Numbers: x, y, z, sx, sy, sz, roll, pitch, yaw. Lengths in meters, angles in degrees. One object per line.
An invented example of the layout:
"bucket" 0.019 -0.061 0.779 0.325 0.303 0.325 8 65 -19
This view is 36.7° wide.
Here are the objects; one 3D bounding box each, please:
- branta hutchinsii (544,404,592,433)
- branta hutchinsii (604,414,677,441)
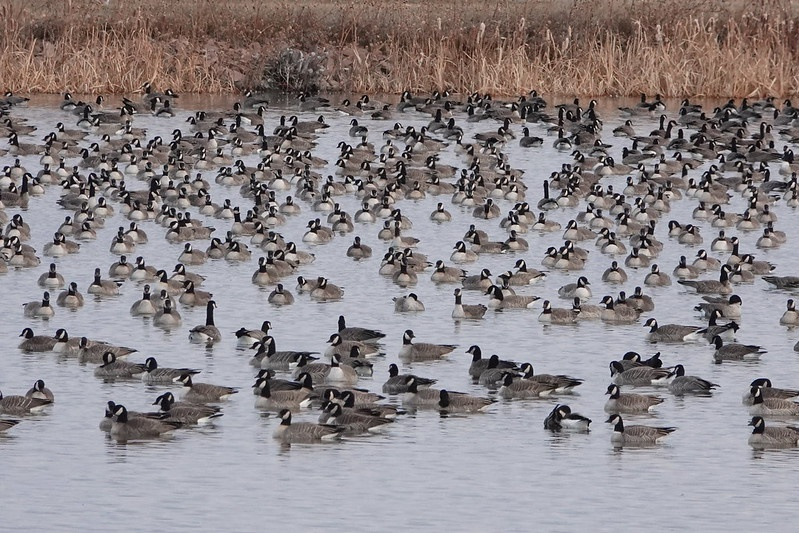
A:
"branta hutchinsii" 3.845 3.554 27.759 1.087 0.563 0.577 1 83 19
"branta hutchinsii" 5.406 3.781 27.551 1.732 0.537 0.707 2 83 1
